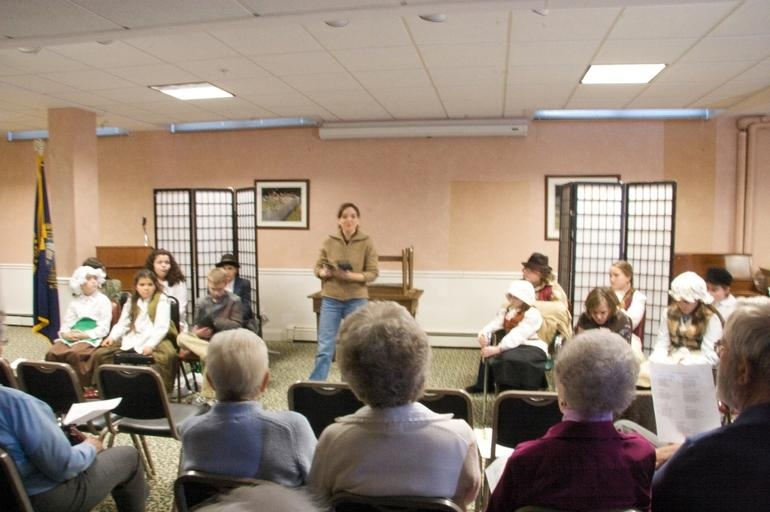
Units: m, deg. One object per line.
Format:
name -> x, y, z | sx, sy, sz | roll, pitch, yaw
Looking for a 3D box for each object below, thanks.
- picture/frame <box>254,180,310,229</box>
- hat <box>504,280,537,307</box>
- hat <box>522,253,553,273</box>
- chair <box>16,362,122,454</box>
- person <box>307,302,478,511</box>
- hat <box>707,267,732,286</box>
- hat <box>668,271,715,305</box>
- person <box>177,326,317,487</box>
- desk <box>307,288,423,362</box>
picture/frame -> -1.515, -0.809, 8.438 | 0.905, 0.697, 0.035 | 0, 3, 3
hat -> 1.385, 0.369, 5.683 | 0.332, 0.238, 0.254 | 1, 1, -36
hat -> 1.700, 0.076, 6.305 | 0.263, 0.101, 0.277 | 11, 5, -13
chair -> -2.437, 1.208, 4.467 | 0.561, 0.897, 0.647 | 1, 5, 8
person -> 0.060, 0.789, 2.931 | 0.889, 0.894, 0.356 | 1, 0, -8
hat -> 3.484, 0.199, 5.871 | 0.216, 0.116, 0.218 | 10, 13, 39
hat -> 2.843, 0.323, 5.083 | 0.314, 0.247, 0.247 | 2, 27, 39
person -> -0.771, 0.864, 3.160 | 0.762, 0.630, 0.395 | 1, 1, -1
desk -> -0.212, 0.808, 7.653 | 1.448, 0.909, 1.090 | 3, 17, 12
